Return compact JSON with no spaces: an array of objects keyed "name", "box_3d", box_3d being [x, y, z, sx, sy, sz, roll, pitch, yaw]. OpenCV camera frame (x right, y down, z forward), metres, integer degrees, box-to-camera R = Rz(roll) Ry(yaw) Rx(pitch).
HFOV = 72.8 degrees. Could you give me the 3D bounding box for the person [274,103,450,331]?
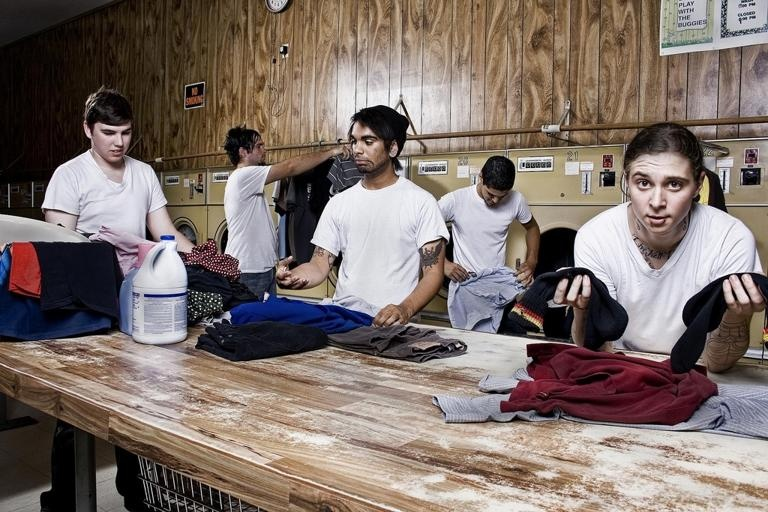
[{"name":"person","box_3d":[-0.065,-0.237,2.539,0.713,0.999,0.854,2,12,11]}]
